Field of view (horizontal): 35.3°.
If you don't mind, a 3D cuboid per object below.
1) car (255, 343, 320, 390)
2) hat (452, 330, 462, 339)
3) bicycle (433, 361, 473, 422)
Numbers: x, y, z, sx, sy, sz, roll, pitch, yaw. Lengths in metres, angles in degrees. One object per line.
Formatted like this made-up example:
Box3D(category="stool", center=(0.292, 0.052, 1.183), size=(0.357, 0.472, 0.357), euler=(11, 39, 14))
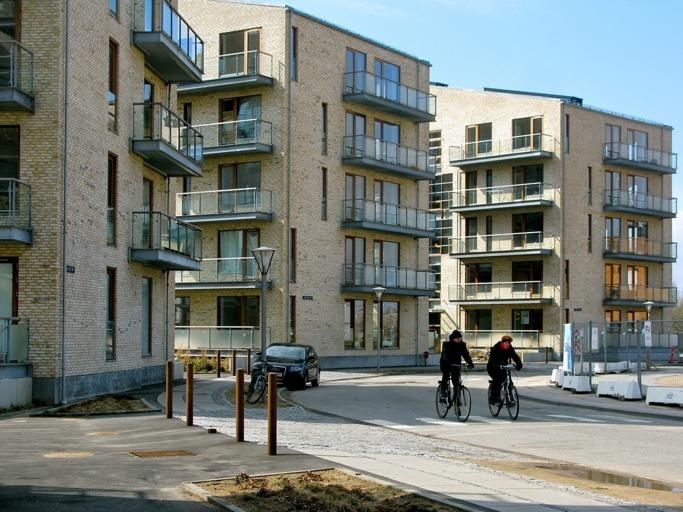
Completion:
Box3D(category="car", center=(-1.659, 3.660, 36.014), size=(1.161, 0.880, 2.624), euler=(-1, -10, 11))
Box3D(category="hat", center=(2.872, 1.942, 26.717), size=(0.186, 0.212, 0.237), euler=(2, -17, 13))
Box3D(category="bicycle", center=(2.967, 3.778, 27.758), size=(0.750, 1.048, 1.744), euler=(4, -10, -16))
